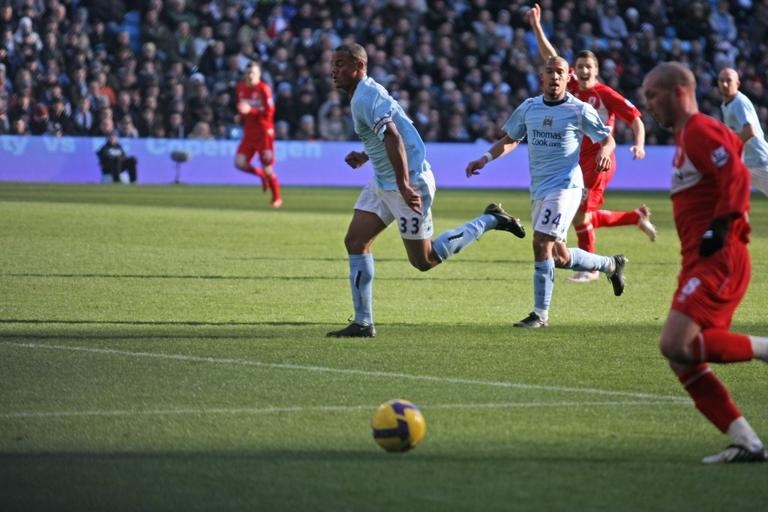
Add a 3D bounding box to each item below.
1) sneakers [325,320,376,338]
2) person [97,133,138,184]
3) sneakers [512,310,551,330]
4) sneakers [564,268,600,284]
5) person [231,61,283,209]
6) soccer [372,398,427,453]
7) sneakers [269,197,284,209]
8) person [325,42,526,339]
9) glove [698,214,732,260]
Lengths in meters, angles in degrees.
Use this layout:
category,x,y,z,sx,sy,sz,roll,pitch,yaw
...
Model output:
category,x,y,z,sx,sy,sz,roll,pitch,yaw
sneakers,-0.298,0.695,12.409,0.422,0.145,0.162,1,-3,0
person,-3.635,-1.276,17.931,0.409,0.754,1.043,-4,15,-5
sneakers,1.443,0.637,12.783,0.297,0.108,0.157,1,-4,-14
sneakers,2.256,0.212,14.894,0.415,0.120,0.163,-7,18,-9
person,-1.924,-1.770,19.639,0.631,2.301,0.795,-4,16,-5
soccer,0.113,1.340,10.378,0.429,0.365,0.221,-3,16,-3
sneakers,-1.666,-0.822,20.208,0.163,0.170,0.462,-9,5,3
person,0.172,-0.641,12.359,1.557,2.697,0.837,-4,16,-4
glove,2.588,-0.208,10.240,0.250,0.360,0.104,-10,56,6
